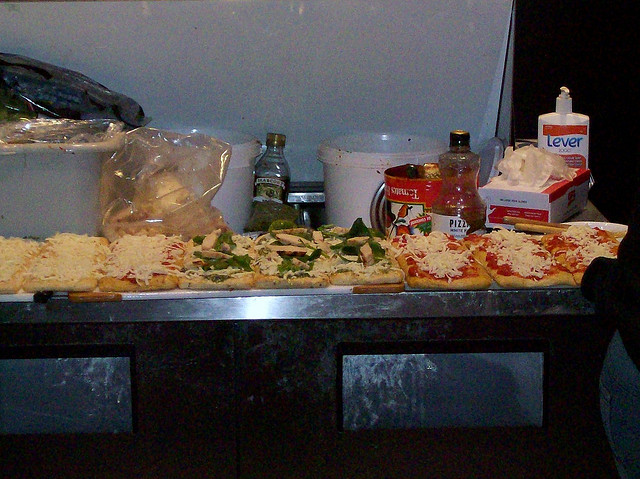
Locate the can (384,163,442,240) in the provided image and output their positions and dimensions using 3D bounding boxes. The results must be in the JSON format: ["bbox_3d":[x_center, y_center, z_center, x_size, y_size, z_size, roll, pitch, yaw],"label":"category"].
[{"bbox_3d":[0.229,-0.105,1.381,0.153,0.183,0.160,-1,12,3],"label":"can"}]

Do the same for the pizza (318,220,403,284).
[{"bbox_3d":[0.091,0.041,1.092,0.120,0.027,0.163,4,27,-12],"label":"pizza"}]

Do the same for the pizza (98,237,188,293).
[{"bbox_3d":[-0.357,0.051,1.073,0.159,0.075,0.170,-1,12,-10],"label":"pizza"}]

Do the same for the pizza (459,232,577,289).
[{"bbox_3d":[0.432,0.052,1.108,0.141,0.033,0.220,-4,13,9],"label":"pizza"}]

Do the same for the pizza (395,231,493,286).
[{"bbox_3d":[0.254,0.038,1.128,0.161,0.048,0.278,2,21,1],"label":"pizza"}]

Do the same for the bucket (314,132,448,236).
[{"bbox_3d":[0.175,-0.213,1.607,0.355,0.254,0.352,1,20,0],"label":"bucket"}]

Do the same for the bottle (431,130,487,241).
[{"bbox_3d":[0.328,-0.115,1.272,0.114,0.288,0.117,0,5,0],"label":"bottle"}]

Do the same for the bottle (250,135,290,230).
[{"bbox_3d":[-0.153,-0.192,1.642,0.114,0.269,0.332,1,12,-4],"label":"bottle"}]

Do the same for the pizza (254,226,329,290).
[{"bbox_3d":[-0.036,0.024,1.112,0.156,0.046,0.205,5,42,17],"label":"pizza"}]

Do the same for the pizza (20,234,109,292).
[{"bbox_3d":[-0.519,0.039,1.078,0.160,0.048,0.191,7,31,-15],"label":"pizza"}]

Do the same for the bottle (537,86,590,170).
[{"bbox_3d":[0.711,-0.335,1.583,0.149,0.258,0.146,0,17,0],"label":"bottle"}]

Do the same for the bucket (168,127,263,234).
[{"bbox_3d":[-0.287,-0.209,1.664,0.297,0.335,0.311,-1,17,0],"label":"bucket"}]
